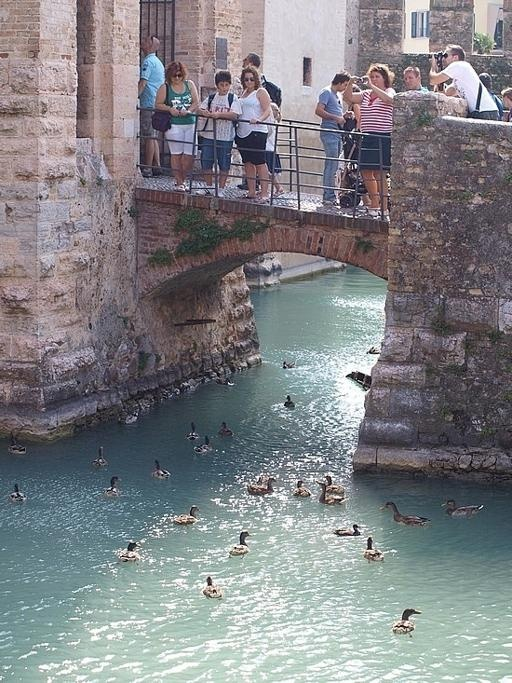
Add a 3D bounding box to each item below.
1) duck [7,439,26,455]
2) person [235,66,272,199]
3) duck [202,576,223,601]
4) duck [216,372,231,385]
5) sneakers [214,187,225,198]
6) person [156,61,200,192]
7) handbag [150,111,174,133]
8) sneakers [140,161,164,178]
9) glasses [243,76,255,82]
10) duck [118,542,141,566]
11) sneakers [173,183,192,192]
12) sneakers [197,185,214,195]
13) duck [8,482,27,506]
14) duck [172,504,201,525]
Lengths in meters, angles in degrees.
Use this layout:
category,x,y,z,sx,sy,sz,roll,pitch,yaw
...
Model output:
category,x,y,z,sx,sy,sz,roll,pitch,yaw
duck,-2.787,1.225,10.856,0.108,0.191,0.317,-13,16,-31
person,-0.040,-2.618,11.949,0.436,1.678,0.938,1,9,-2
duck,-0.355,2.014,7.648,0.093,0.113,0.205,-5,4,-7
duck,-0.523,0.593,14.804,0.331,0.216,0.111,2,19,40
sneakers,-0.495,-2.001,12.611,0.111,0.114,0.287,1,0,2
person,-1.078,-2.890,12.644,0.604,1.699,1.082,0,9,-5
handbag,-1.294,-2.973,12.721,0.240,0.271,0.114,10,7,32
sneakers,-1.544,-2.519,13.842,0.162,0.198,0.500,2,-3,7
glasses,-0.089,-3.294,11.716,0.135,0.076,0.169,1,9,0
duck,-1.130,1.858,8.370,0.200,0.135,0.328,0,9,-9
sneakers,-0.994,-2.077,12.694,0.152,0.153,0.359,-1,4,-19
sneakers,-0.691,-2.023,12.607,0.172,0.073,0.217,0,7,3
duck,-2.437,1.571,9.580,0.136,0.225,0.092,-4,-34,-1
duck,-0.663,1.700,9.150,0.220,0.144,0.121,-5,10,-27
